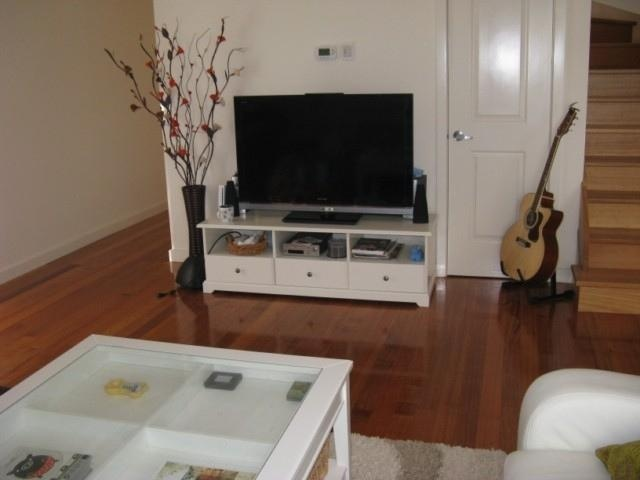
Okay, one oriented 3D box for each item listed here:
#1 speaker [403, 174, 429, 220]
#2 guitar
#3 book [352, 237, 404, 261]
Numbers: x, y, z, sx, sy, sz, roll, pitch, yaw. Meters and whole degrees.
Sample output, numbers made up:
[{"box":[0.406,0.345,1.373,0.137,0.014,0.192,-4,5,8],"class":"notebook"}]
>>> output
[{"box":[0.726,-0.326,3.684,0.188,0.309,0.364,2,21,10],"class":"speaker"},{"box":[1.554,-0.283,3.399,0.446,1.176,0.406,-1,20,4],"class":"guitar"},{"box":[0.434,0.057,3.696,0.351,0.090,0.344,4,23,15],"class":"book"}]
